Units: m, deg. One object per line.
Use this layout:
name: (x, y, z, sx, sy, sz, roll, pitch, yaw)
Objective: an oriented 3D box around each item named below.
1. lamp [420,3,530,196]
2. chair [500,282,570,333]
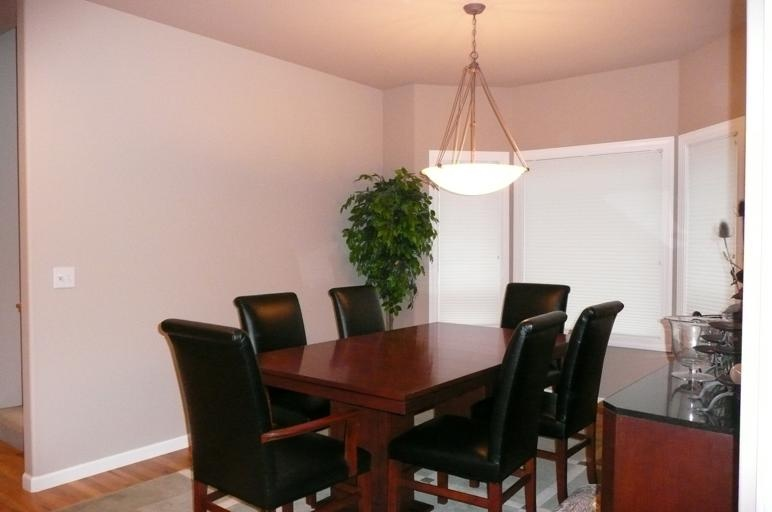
lamp: (0.745, -1.242, 5.170, 0.901, 1.494, 2.370, -2, 2, 9)
chair: (1.285, 0.429, 5.148, 0.452, 0.620, 0.446, -1, -5, 41)
